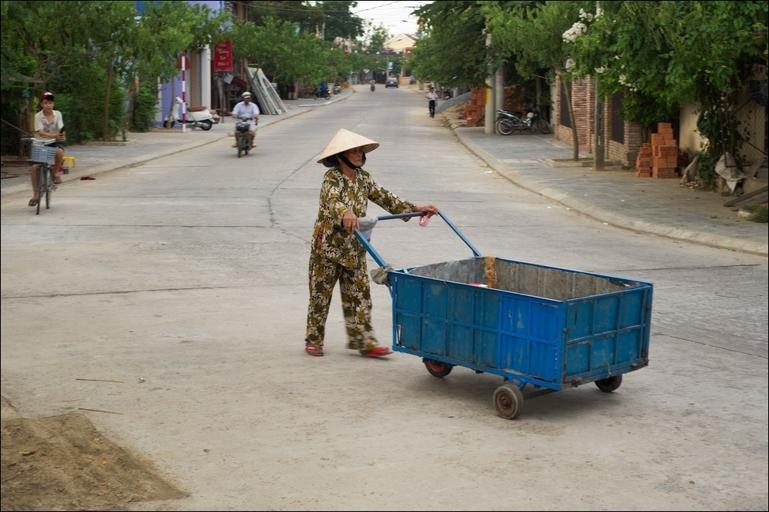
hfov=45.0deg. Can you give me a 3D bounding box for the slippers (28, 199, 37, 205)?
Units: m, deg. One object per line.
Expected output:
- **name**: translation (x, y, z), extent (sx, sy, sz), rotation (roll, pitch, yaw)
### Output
- **slippers**: translation (-6.431, -0.963, 17.075), extent (0.127, 0.114, 0.326), rotation (-3, 1, -20)

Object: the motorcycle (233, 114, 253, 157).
- **motorcycle**: translation (-4.093, -3.507, 27.375), extent (0.480, 1.149, 1.153), rotation (-3, 9, -7)

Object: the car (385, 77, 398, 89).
- **car**: translation (1.192, -24.463, 131.241), extent (1.542, 1.008, 2.272), rotation (0, 9, -1)

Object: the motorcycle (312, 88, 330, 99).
- **motorcycle**: translation (-5.909, -15.654, 89.384), extent (1.192, 0.551, 1.477), rotation (4, 2, 29)

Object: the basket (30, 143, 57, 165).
- **basket**: translation (-6.152, -1.815, 16.905), extent (0.412, 0.426, 0.646), rotation (3, 6, 15)

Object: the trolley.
- **trolley**: translation (0.918, 0.463, 9.109), extent (1.739, 1.434, 2.848), rotation (-10, 14, -44)

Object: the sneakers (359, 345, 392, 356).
- **sneakers**: translation (-0.088, 0.986, 9.508), extent (0.265, 0.087, 0.124), rotation (-1, 4, 9)

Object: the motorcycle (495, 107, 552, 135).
- **motorcycle**: translation (5.802, -5.482, 38.286), extent (2.553, 1.232, 1.114), rotation (-1, 9, -14)

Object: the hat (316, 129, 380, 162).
- **hat**: translation (-0.335, -1.104, 9.334), extent (0.578, 0.201, 0.532), rotation (-14, -2, 10)

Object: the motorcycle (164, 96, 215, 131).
- **motorcycle**: translation (-8.493, -6.212, 40.933), extent (2.542, 1.241, 0.973), rotation (4, 13, 14)
